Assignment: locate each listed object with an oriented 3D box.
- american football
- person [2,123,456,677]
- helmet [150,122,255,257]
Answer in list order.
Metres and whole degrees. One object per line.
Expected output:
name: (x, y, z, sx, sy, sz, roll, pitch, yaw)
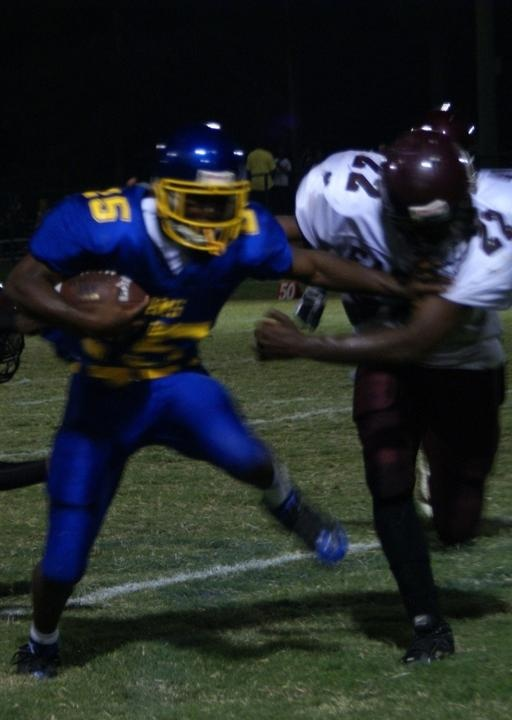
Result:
american football: (-0.342, -0.150, 1.614, 0.170, 0.049, 0.095, 3, 55, -6)
person: (-0.195, 0.102, 1.825, 0.793, 0.941, 0.476, -4, 2, -37)
helmet: (-0.127, -0.406, 1.687, 0.220, 0.324, 0.178, -3, 2, -2)
